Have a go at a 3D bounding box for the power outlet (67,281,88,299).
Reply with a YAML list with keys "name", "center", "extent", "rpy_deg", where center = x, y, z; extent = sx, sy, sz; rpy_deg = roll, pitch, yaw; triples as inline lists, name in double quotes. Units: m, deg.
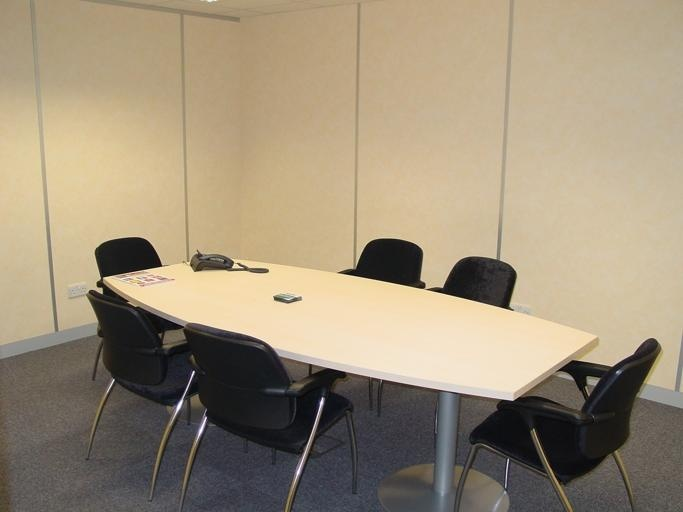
- name: "power outlet"
  center: [-2.504, 0.320, 5.567]
  extent: [0.020, 0.111, 0.151]
  rpy_deg: [5, 11, 36]
